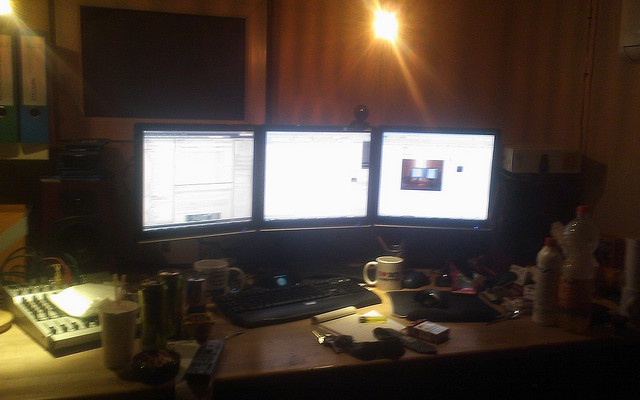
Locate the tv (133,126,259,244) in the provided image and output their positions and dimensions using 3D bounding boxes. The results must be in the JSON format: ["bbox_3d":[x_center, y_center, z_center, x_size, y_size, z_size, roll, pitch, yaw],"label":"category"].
[{"bbox_3d":[-0.519,-0.077,2.076,0.594,0.486,0.060,-1,8,-18],"label":"tv"}]

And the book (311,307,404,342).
[{"bbox_3d":[0.115,0.465,1.890,0.157,0.019,0.148,12,15,39],"label":"book"}]

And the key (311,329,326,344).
[{"bbox_3d":[-0.004,0.487,1.811,0.022,0.016,0.041,-39,54,-11],"label":"key"}]

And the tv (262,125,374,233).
[{"bbox_3d":[-0.027,-0.108,2.236,0.586,0.433,0.056,0,10,-10],"label":"tv"}]

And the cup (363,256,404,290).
[{"bbox_3d":[0.279,0.318,2.238,0.196,0.118,0.113,-1,4,2],"label":"cup"}]

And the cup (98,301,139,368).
[{"bbox_3d":[-0.664,0.445,1.697,0.106,0.203,0.140,-1,8,18],"label":"cup"}]

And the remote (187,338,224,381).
[{"bbox_3d":[-0.375,0.528,1.695,0.086,0.027,0.157,-1,28,8],"label":"remote"}]

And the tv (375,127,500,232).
[{"bbox_3d":[0.531,-0.108,2.285,0.562,0.393,0.067,2,8,0],"label":"tv"}]
